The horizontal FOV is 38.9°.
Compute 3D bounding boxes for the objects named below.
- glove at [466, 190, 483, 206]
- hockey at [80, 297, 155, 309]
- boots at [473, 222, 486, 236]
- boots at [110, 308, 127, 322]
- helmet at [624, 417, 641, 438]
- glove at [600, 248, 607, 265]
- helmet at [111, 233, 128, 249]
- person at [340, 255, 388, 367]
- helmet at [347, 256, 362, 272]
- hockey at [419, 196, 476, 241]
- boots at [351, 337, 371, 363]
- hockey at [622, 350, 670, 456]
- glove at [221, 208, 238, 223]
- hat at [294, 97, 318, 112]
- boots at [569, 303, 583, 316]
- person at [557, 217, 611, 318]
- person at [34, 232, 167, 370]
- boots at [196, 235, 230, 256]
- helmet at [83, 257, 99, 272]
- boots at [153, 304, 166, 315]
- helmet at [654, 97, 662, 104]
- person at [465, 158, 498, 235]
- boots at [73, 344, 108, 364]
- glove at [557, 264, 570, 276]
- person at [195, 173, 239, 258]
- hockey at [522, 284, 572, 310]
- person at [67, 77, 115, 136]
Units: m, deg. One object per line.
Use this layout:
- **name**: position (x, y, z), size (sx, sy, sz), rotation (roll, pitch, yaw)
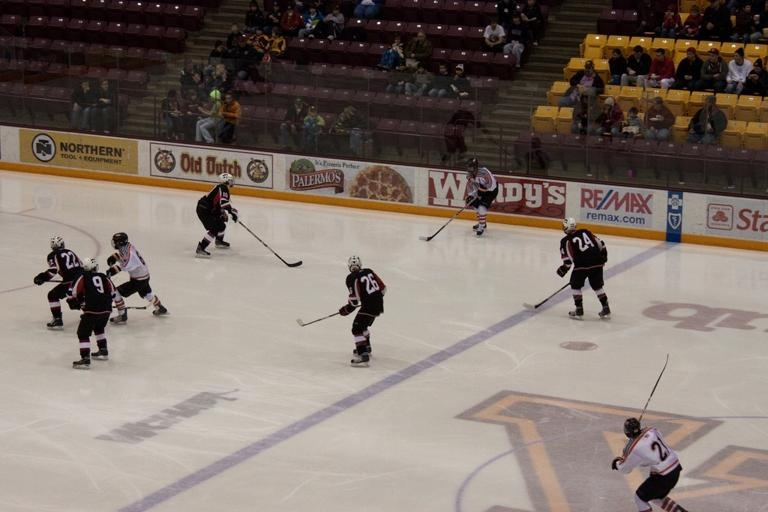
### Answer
- **glove**: position (2.004, -1.272, 24.120), size (0.447, 0.391, 0.340), rotation (1, 6, -17)
- **hockey**: position (-4.629, 0.824, 18.918), size (0.838, 0.121, 0.085), rotation (4, 17, 14)
- **boots**: position (2.153, -0.604, 24.284), size (0.295, 0.281, 0.727), rotation (2, 5, 8)
- **boots**: position (-4.756, 1.068, 19.734), size (0.362, 0.288, 0.160), rotation (7, 16, 9)
- **helmet**: position (3.282, 2.280, 14.324), size (0.211, 0.280, 0.251), rotation (5, 6, 12)
- **glove**: position (3.959, 0.002, 19.559), size (0.068, 0.290, 0.198), rotation (7, 7, 28)
- **helmet**: position (-4.647, -0.278, 19.155), size (0.370, 0.288, 0.263), rotation (7, -10, -23)
- **person**: position (-0.364, 0.918, 18.126), size (0.699, 1.829, 0.686), rotation (3, 6, -2)
- **helmet**: position (-0.471, 0.122, 17.896), size (0.263, 0.265, 0.284), rotation (-1, -20, -3)
- **hockey**: position (1.509, -0.846, 24.833), size (1.675, 0.278, 0.183), rotation (-35, -8, -10)
- **boots**: position (-0.361, 1.581, 18.164), size (0.264, 0.446, 0.500), rotation (-4, 19, -15)
- **hockey**: position (3.964, 2.274, 16.474), size (0.158, 1.374, 0.098), rotation (36, 29, 14)
- **glove**: position (-3.224, -0.868, 22.747), size (0.480, 0.214, 0.611), rotation (1, -2, -13)
- **hat**: position (-1.850, -3.578, 25.688), size (0.571, 0.346, 0.164), rotation (3, 6, 3)
- **boots**: position (3.505, 0.993, 19.952), size (0.143, 0.236, 0.284), rotation (-14, 24, -26)
- **person**: position (3.708, 0.240, 19.865), size (0.958, 1.819, 0.982), rotation (5, 6, 14)
- **person**: position (-5.016, 0.895, 19.289), size (1.137, 1.213, 2.163), rotation (18, 27, 19)
- **boots**: position (-3.582, -0.242, 22.988), size (0.966, 0.356, 0.278), rotation (-15, 24, -39)
- **helmet**: position (-4.891, 0.151, 18.199), size (0.215, 0.191, 0.171), rotation (26, 12, -7)
- **boots**: position (-4.070, 1.000, 19.867), size (0.290, 0.237, 0.134), rotation (-7, 31, -9)
- **helmet**: position (5.951, -3.399, 23.600), size (0.133, 0.105, 0.157), rotation (-9, 6, -30)
- **person**: position (2.208, -1.393, 24.335), size (1.099, 1.755, 0.700), rotation (-16, 47, -9)
- **boots**: position (-4.868, 1.687, 18.076), size (0.300, 0.325, 0.553), rotation (6, 6, 29)
- **glove**: position (3.221, 0.263, 19.603), size (0.185, 0.247, 0.108), rotation (39, 16, 5)
- **person**: position (-3.563, -0.817, 23.563), size (1.374, 2.156, 1.116), rotation (2, 41, -10)
- **hockey**: position (3.107, 0.799, 20.722), size (1.174, 0.175, 0.101), rotation (-25, -12, 31)
- **person**: position (-7.355, -3.879, 27.608), size (1.361, 1.373, 0.820), rotation (6, 20, 11)
